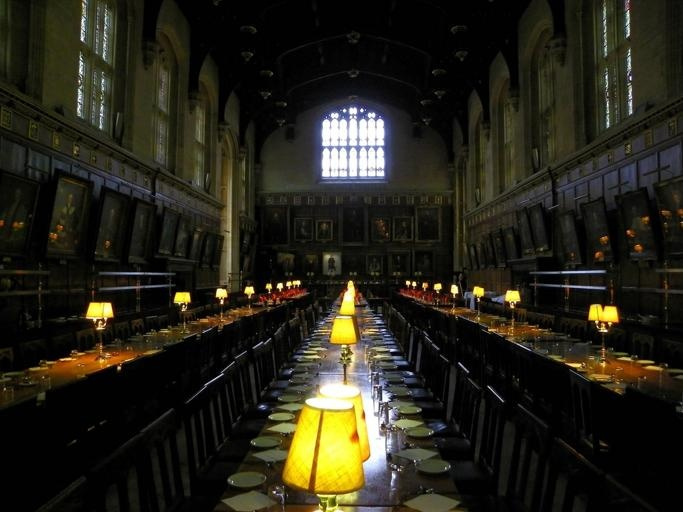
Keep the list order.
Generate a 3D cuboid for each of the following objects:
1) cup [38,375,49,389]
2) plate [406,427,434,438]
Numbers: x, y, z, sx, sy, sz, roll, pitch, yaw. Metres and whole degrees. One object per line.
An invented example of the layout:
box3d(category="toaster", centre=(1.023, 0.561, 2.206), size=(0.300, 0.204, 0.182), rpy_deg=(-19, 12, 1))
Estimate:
box3d(category="cup", centre=(-2.916, 1.238, 5.341), size=(0.094, 0.124, 0.102), rpy_deg=(1, -5, 0))
box3d(category="plate", centre=(0.676, 1.492, 4.587), size=(0.223, 0.073, 0.154), rpy_deg=(1, -6, -31))
